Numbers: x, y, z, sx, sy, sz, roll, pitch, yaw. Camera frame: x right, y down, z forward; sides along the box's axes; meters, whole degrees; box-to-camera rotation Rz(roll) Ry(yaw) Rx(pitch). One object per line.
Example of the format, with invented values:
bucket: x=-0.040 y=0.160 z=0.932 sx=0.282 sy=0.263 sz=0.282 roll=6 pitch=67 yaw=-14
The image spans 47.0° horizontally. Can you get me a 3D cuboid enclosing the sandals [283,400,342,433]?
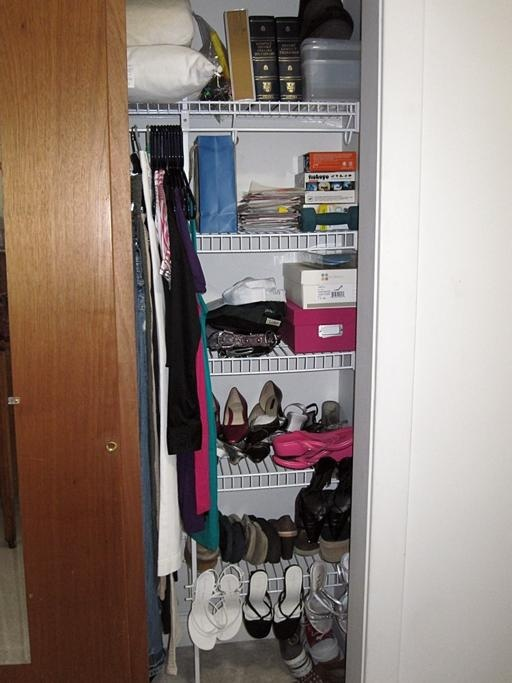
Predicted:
sandals: x=0.199 y=0.270 z=2.081 sx=0.142 sy=0.143 sz=0.110 roll=4 pitch=-7 yaw=-7

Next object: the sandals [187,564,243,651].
sandals: x=-0.124 y=0.829 z=1.914 sx=0.155 sy=0.222 sz=0.254 roll=-1 pitch=10 yaw=12

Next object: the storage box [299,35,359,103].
storage box: x=0.228 y=-0.814 z=1.776 sx=0.176 sy=0.173 sz=0.043 roll=-6 pitch=9 yaw=-14

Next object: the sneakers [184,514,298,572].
sneakers: x=-0.038 y=0.666 z=1.983 sx=0.275 sy=0.131 sz=0.204 roll=2 pitch=-1 yaw=-20

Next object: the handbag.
handbag: x=-0.124 y=-0.453 z=1.722 sx=0.101 sy=0.289 sz=0.292 roll=-3 pitch=13 yaw=-7

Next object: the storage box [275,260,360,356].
storage box: x=0.184 y=-0.115 z=1.865 sx=0.235 sy=0.232 sz=0.250 roll=-1 pitch=10 yaw=-9

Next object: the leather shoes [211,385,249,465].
leather shoes: x=-0.081 y=0.268 z=1.966 sx=0.079 sy=0.097 sz=0.253 roll=-2 pitch=40 yaw=0

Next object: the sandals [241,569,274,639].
sandals: x=0.004 y=0.867 z=1.944 sx=0.097 sy=0.051 sz=0.222 roll=-1 pitch=31 yaw=2
